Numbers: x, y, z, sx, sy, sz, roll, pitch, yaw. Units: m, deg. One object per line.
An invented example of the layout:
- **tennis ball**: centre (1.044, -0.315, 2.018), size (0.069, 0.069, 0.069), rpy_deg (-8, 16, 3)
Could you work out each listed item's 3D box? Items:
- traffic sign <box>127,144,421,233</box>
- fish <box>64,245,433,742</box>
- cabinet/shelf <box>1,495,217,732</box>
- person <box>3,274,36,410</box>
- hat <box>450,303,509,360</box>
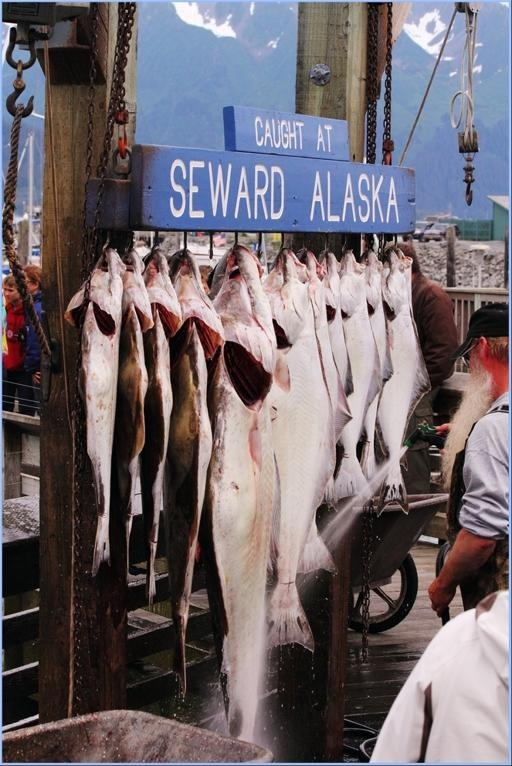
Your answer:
- **traffic sign**: centre (0.039, -0.514, 2.592), size (0.915, 0.170, 1.179), rpy_deg (5, 9, 4)
- **fish**: centre (0.034, 0.246, 2.655), size (0.209, 1.397, 1.472), rpy_deg (1, 0, 33)
- **cabinet/shelf**: centre (-0.431, 0.665, 2.794), size (0.735, 0.999, 0.394), rpy_deg (0, 1, -45)
- **person**: centre (-1.762, -0.239, 7.204), size (0.228, 1.134, 0.216), rpy_deg (-3, 6, -42)
- **hat**: centre (0.752, -0.181, 3.215), size (0.147, 0.124, 0.127), rpy_deg (-16, 3, 10)
